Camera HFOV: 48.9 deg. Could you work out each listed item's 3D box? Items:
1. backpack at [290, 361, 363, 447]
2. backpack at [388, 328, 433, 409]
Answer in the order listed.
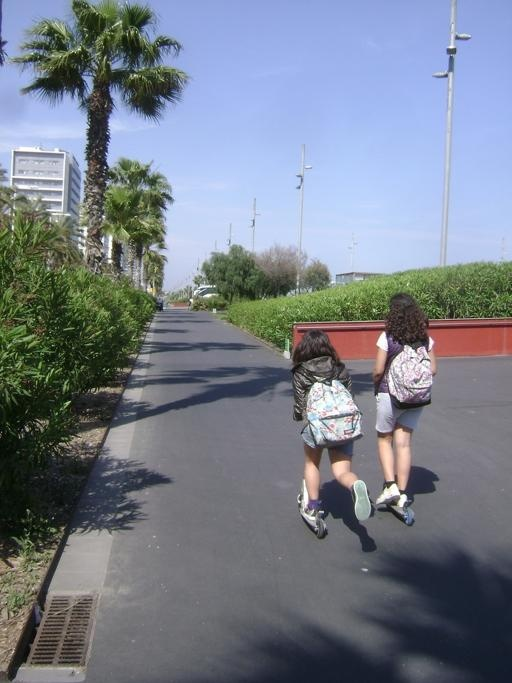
[{"bbox_3d":[0.493,0.389,3.865,0.439,0.295,0.659,-7,43,-6],"label":"backpack"},{"bbox_3d":[1.148,0.256,4.242,0.302,0.501,0.267,-3,15,-13],"label":"backpack"}]
